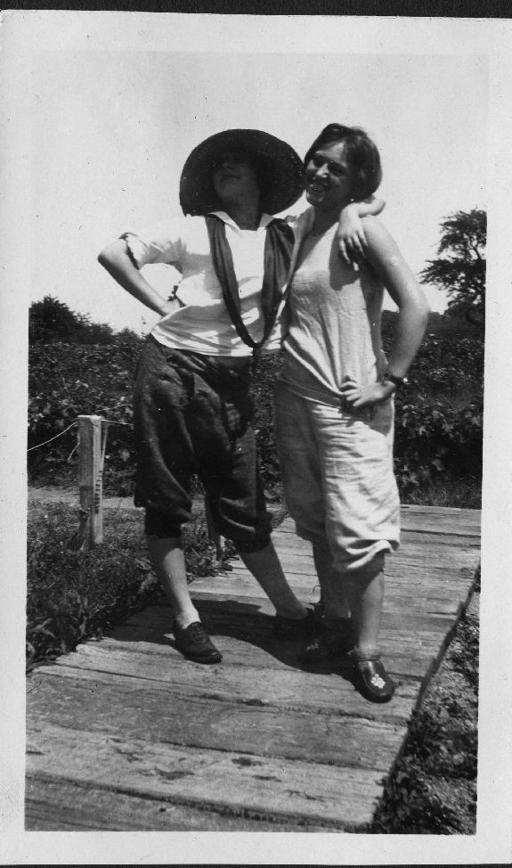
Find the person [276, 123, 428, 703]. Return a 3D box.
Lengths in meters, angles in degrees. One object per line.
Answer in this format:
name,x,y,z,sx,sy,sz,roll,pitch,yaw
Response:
person,0.257,-0.073,2.738,0.213,1.526,0.434,-2,0,-38

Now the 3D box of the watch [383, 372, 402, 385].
watch,0.370,-0.148,2.667,0.046,0.029,0.042,-1,-24,18

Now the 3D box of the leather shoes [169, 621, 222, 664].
leather shoes,-0.184,0.616,2.858,0.079,0.070,0.161,-5,15,-44

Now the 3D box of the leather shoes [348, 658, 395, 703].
leather shoes,0.320,0.677,2.709,0.076,0.061,0.143,-30,45,-3
